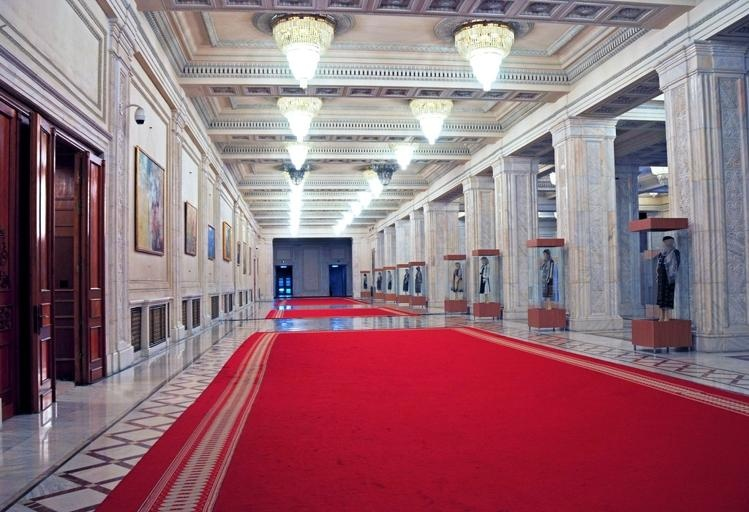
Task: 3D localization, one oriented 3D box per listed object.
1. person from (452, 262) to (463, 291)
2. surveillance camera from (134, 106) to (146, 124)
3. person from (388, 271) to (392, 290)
[{"bbox_3d":[3.297,0.859,20.022,0.531,1.243,0.231,-1,1,-13],"label":"person"},{"bbox_3d":[-4.080,-2.461,8.693,0.165,0.296,0.331,-2,1,-25],"label":"surveillance camera"},{"bbox_3d":[0.831,1.498,29.938,0.296,1.132,0.124,0,2,43],"label":"person"}]
